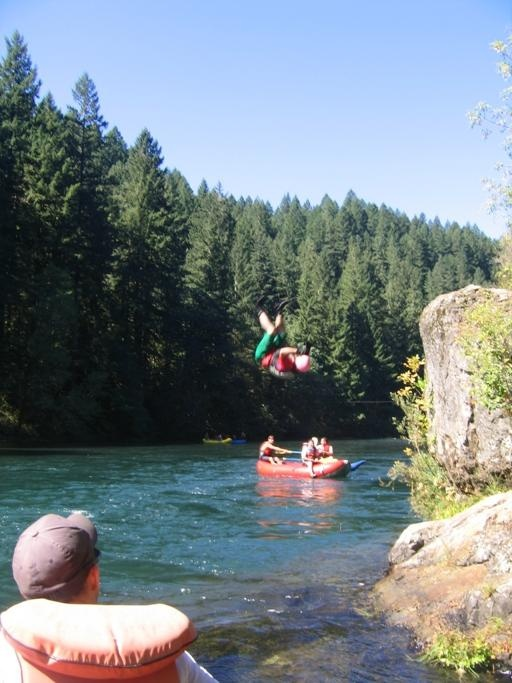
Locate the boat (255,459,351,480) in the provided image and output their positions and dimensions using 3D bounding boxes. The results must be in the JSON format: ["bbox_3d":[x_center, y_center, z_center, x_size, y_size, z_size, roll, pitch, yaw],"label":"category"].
[{"bbox_3d":[1.465,4.003,21.337,2.166,0.552,1.125,-3,-9,15],"label":"boat"}]

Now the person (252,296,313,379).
[{"bbox_3d":[0.369,-0.024,9.841,0.729,1.091,1.190,1,-5,0],"label":"person"}]

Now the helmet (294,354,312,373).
[{"bbox_3d":[0.643,0.302,9.493,0.208,0.235,0.404,1,-5,2],"label":"helmet"}]
